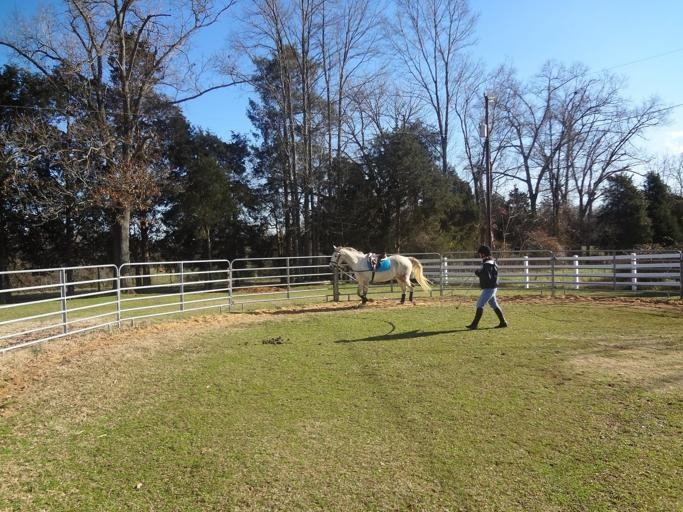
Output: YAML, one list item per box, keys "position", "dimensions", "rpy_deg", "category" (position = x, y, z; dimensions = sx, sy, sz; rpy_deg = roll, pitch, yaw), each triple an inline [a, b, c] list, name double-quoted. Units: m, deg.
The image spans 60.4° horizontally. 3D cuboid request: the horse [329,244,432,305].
- position: [1.227, 0.598, 18.328]
  dimensions: [2.895, 1.749, 1.189]
  rpy_deg: [-2, 0, -22]
  category: "horse"
